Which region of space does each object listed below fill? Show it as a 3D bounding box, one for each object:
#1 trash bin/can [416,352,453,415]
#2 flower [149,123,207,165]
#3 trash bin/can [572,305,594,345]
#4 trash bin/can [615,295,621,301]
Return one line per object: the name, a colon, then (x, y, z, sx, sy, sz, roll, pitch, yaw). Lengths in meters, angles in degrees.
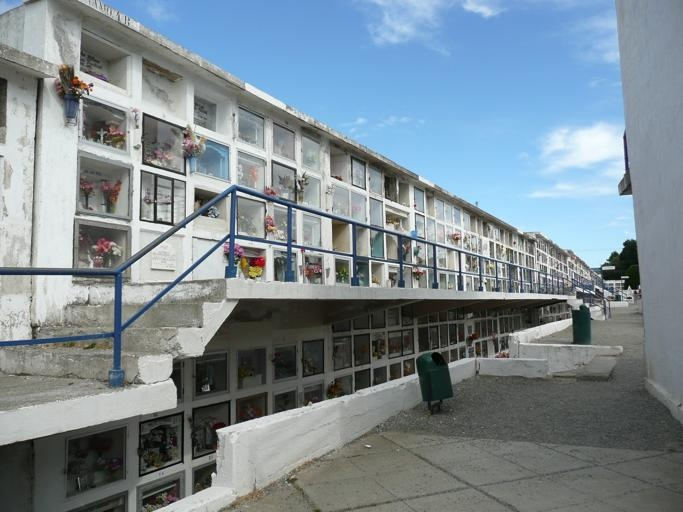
trash bin/can: (1.355, 1.839, 8.107, 0.480, 0.610, 0.432, -2, 1, -14)
flower: (-2.810, -1.868, 9.469, 0.986, 0.656, 0.238, -3, 1, -41)
trash bin/can: (6.230, 1.815, 14.421, 0.416, 0.899, 0.946, -2, 1, 22)
trash bin/can: (24.297, 3.702, 48.930, 0.406, 0.313, 0.417, -1, -5, 24)
